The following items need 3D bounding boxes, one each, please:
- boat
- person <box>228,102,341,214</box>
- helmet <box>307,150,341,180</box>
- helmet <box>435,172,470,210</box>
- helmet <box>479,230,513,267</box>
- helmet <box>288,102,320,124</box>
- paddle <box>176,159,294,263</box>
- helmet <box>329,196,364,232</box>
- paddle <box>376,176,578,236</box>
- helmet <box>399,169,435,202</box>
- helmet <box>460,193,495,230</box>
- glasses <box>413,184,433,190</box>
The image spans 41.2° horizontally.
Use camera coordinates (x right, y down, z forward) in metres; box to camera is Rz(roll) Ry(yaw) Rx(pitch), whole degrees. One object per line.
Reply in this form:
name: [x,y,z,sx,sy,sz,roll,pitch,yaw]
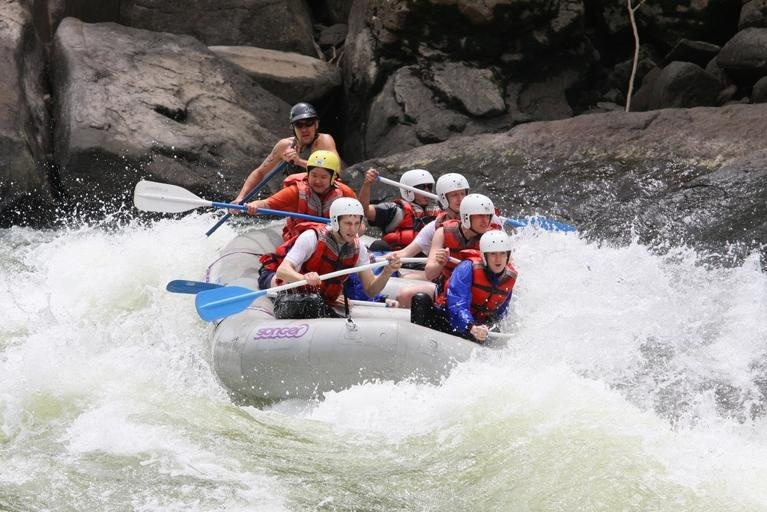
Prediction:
boat: [-0.716,0.781,9.910,2.824,0.823,1.624,28,36,33]
person: [-1.107,-1.186,11.851,1.085,0.496,1.363,4,31,20]
helmet: [-0.642,-0.967,10.995,0.352,0.388,0.336,4,32,-6]
helmet: [0.769,-0.709,11.166,0.362,0.350,0.419,1,-8,-44]
helmet: [1.069,-0.134,9.922,0.254,0.266,0.300,0,-3,-9]
helmet: [-0.925,-1.660,11.792,0.253,0.148,0.305,-15,-10,2]
paddle: [-1.777,-0.505,12.030,1.842,0.255,0.262,-40,66,-16]
helmet: [-0.394,-0.421,10.040,0.290,0.358,0.278,1,47,-15]
paddle: [1.095,-0.565,11.170,2.961,0.291,0.133,12,20,-35]
helmet: [0.379,-0.841,11.921,0.447,0.301,0.308,-1,3,16]
helmet: [0.926,-0.473,10.416,0.294,0.285,0.392,-3,6,-38]
glasses: [0.486,-0.795,11.942,0.138,0.041,0.102,1,0,30]
